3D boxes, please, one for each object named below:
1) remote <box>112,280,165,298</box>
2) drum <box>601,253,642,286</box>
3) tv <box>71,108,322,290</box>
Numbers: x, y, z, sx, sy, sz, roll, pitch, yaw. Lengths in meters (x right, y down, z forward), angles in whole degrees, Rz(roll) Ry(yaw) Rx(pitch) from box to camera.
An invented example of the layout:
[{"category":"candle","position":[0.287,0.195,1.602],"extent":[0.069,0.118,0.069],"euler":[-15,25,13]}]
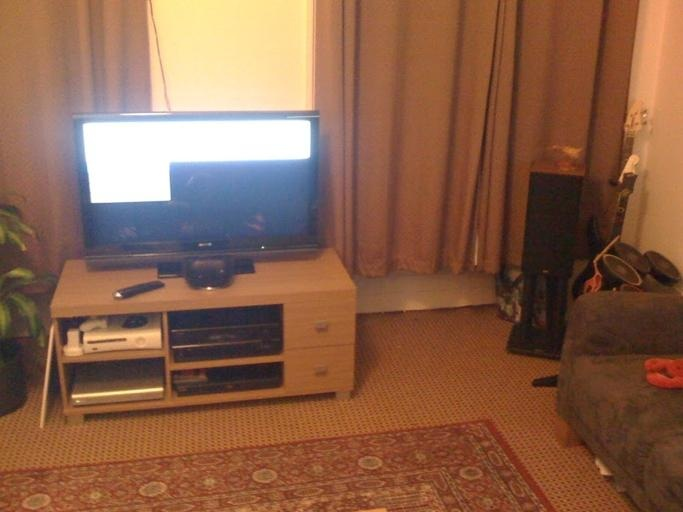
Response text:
[{"category":"remote","position":[-0.891,0.138,2.529],"extent":[0.067,0.038,0.227],"euler":[26,29,36]},{"category":"drum","position":[1.342,0.064,2.754],"extent":[0.176,0.110,0.173],"euler":[-1,18,0]},{"category":"tv","position":[-0.678,-0.274,2.654],"extent":[0.873,0.611,0.224],"euler":[-1,12,-8]}]
